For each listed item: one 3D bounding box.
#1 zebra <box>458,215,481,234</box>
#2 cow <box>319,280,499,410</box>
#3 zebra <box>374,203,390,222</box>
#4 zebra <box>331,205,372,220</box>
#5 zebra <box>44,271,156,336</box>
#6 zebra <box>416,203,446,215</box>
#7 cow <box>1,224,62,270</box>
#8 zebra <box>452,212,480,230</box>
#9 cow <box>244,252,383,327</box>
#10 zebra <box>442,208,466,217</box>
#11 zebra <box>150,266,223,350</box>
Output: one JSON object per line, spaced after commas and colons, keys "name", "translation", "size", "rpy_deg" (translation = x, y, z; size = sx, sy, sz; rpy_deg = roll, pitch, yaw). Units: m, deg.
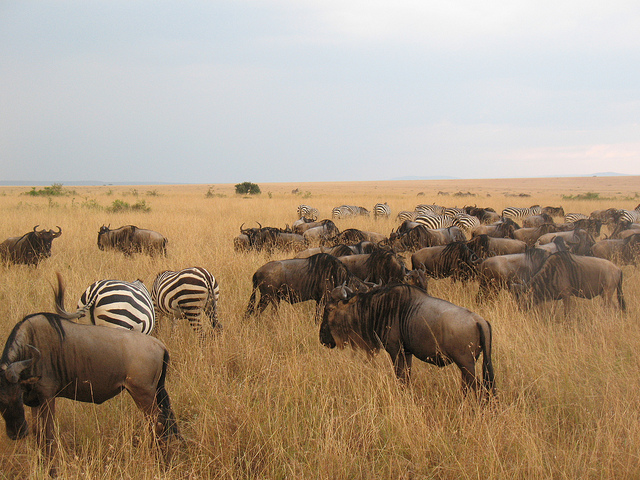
{"name": "zebra", "translation": [4.375, -0.483, 22.244], "size": [0.563, 0.490, 0.988], "rpy_deg": [0, 3, 9]}
{"name": "cow", "translation": [1.227, 1.473, 10.637], "size": [2.351, 1.681, 0.483], "rpy_deg": [1, 3, 29]}
{"name": "zebra", "translation": [2.559, -1.176, 29.870], "size": [0.370, 0.874, 1.157], "rpy_deg": [7, 10, 38]}
{"name": "zebra", "translation": [1.170, -1.035, 28.709], "size": [1.280, 0.760, 0.368], "rpy_deg": [-6, 37, -22]}
{"name": "zebra", "translation": [-2.936, 0.991, 10.841], "size": [1.050, 0.786, 0.642], "rpy_deg": [-2, 3, -18]}
{"name": "zebra", "translation": [4.106, -1.137, 28.006], "size": [1.185, 0.371, 0.864], "rpy_deg": [-5, 1, -44]}
{"name": "cow", "translation": [-5.822, 0.159, 15.291], "size": [1.225, 0.762, 0.539], "rpy_deg": [-16, 0, 30]}
{"name": "zebra", "translation": [4.300, -0.533, 22.129], "size": [1.004, 0.381, 0.592], "rpy_deg": [-1, 11, -6]}
{"name": "cow", "translation": [-0.093, 0.883, 12.673], "size": [2.333, 1.474, 0.628], "rpy_deg": [5, 13, 4]}
{"name": "zebra", "translation": [4.518, -0.928, 25.519], "size": [0.603, 0.219, 0.454], "rpy_deg": [-5, -5, -17]}
{"name": "zebra", "translation": [-2.362, 1.019, 12.305], "size": [1.802, 1.468, 0.615], "rpy_deg": [2, 1, 42]}
